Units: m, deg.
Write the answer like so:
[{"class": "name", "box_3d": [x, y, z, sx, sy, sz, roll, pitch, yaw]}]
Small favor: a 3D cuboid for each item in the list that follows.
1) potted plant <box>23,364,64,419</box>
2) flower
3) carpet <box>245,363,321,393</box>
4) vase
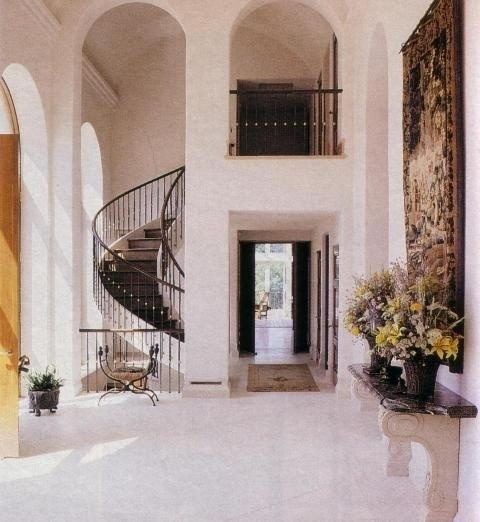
[{"class": "potted plant", "box_3d": [-2.293, 1.527, 6.728, 0.280, 0.514, 0.299, -2, -6, 39]}, {"class": "flower", "box_3d": [1.150, 0.372, 4.035, 0.574, 0.580, 0.657, -1, 4, -11]}, {"class": "carpet", "box_3d": [0.591, 1.716, 8.523, 0.960, 0.175, 1.986, 0, 5, 1]}, {"class": "vase", "box_3d": [1.171, 0.768, 4.239, 0.228, 0.361, 0.898, -1, 5, -7]}]
